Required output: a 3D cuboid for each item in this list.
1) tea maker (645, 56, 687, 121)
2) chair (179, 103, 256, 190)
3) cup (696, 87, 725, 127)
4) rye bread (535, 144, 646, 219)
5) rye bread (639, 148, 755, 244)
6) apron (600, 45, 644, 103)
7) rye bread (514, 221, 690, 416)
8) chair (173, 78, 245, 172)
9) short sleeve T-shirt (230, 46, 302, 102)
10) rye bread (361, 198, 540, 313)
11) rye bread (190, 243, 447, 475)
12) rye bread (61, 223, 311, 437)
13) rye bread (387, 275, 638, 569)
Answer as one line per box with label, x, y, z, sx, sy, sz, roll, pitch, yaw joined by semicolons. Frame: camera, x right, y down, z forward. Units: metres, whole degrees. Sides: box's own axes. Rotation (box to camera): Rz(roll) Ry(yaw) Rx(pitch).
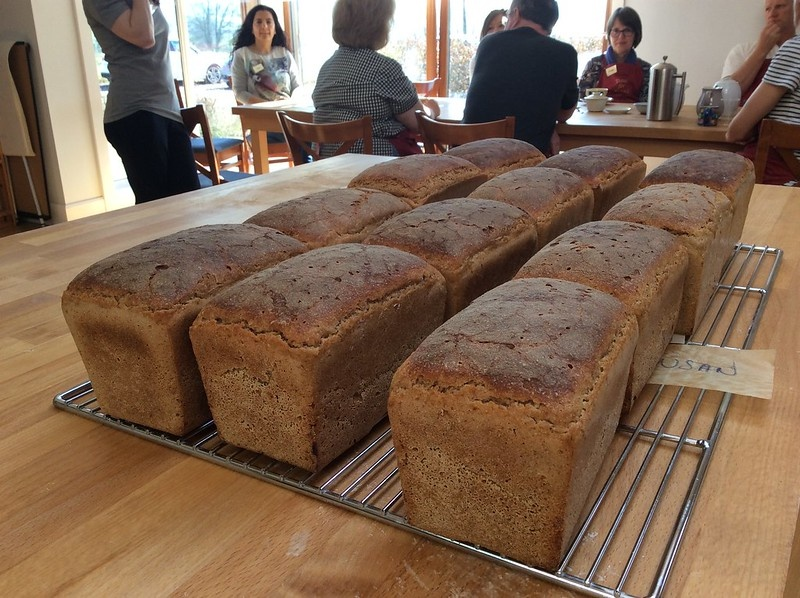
tea maker;1.415;-1.119;3.158;0.219;0.324;0.139;4;5;17
chair;-1.348;-1.097;4.412;0.229;0.362;0.267;-7;14;28
cup;1.555;-0.989;2.962;0.105;0.150;0.141;4;25;21
rye bread;0.460;-0.270;1.379;0.210;0.109;0.162;-32;18;-33
rye bread;0.628;-0.180;1.235;0.204;0.192;0.207;-35;27;-31
apron;1.732;-1.723;4.558;0.346;0.512;0.269;1;29;32
rye bread;0.304;0.059;0.955;0.228;0.235;0.303;16;39;36
chair;-1.323;-1.071;4.069;0.433;0.577;0.439;-18;32;-22
short sleeve T-shirt;-1.226;-2.034;5.317;0.646;0.637;0.359;-12;19;-31
rye bread;0.081;-0.131;0.915;0.183;0.132;0.238;8;23;28
rye bread;-0.095;0.042;0.804;0.229;0.270;0.364;11;24;31
rye bread;-0.297;0.034;0.885;0.228;0.269;0.354;10;19;20
rye bread;0.132;0.118;0.689;0.219;0.207;0.286;13;29;26
